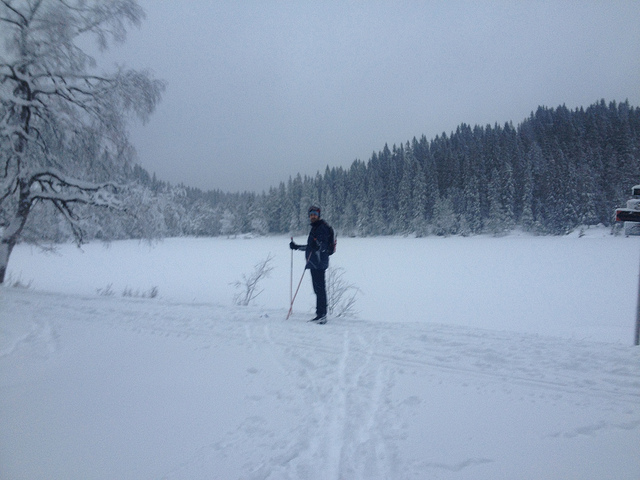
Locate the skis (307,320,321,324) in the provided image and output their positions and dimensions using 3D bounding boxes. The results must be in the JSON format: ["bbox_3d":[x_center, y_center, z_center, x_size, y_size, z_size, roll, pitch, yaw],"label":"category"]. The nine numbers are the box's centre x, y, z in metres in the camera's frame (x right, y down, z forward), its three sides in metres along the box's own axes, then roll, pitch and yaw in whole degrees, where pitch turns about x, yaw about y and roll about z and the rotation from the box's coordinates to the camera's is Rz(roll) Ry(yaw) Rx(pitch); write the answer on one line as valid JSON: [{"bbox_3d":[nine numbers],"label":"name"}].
[{"bbox_3d":[-0.180,2.140,12.926,0.352,0.081,0.190,7,-10,6],"label":"skis"}]
